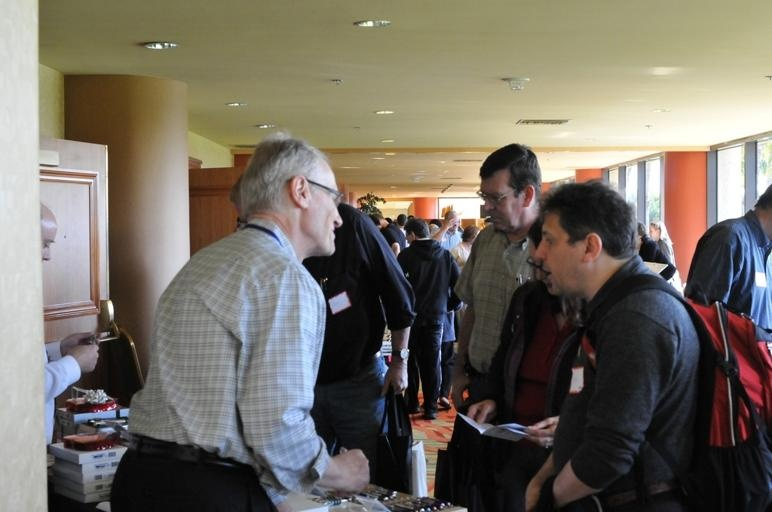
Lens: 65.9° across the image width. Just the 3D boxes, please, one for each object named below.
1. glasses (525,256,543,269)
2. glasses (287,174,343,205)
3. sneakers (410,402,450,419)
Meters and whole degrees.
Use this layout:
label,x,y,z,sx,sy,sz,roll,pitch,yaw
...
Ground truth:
label,x,y,z,sx,sy,sz,roll,pitch,yaw
glasses,0.569,0.022,2.281,0.041,0.013,0.040,10,-30,52
glasses,-0.200,-0.202,1.846,0.092,0.028,0.090,36,5,6
sneakers,0.431,1.589,6.132,0.502,0.211,0.165,-1,4,-2
